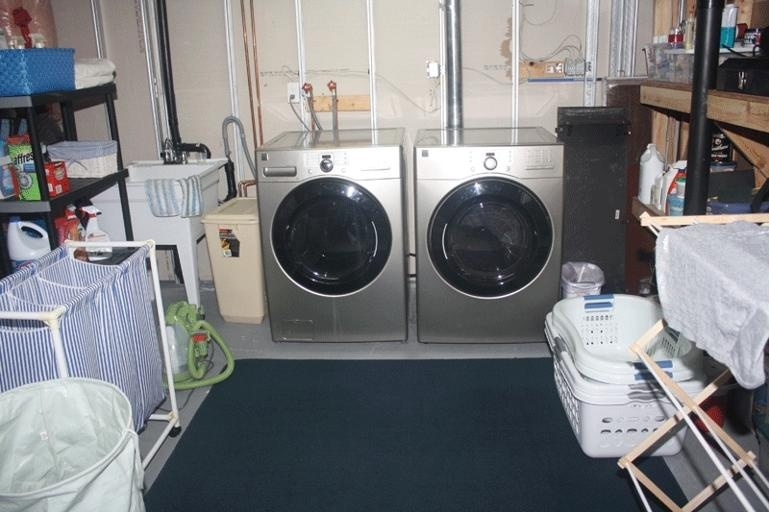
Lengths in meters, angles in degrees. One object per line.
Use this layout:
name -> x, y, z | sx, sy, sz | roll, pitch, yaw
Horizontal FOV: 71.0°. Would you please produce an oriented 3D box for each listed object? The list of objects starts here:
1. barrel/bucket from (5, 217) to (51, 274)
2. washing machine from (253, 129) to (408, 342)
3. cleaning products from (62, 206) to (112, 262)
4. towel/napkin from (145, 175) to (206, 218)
barrel/bucket -> -2.219, -0.086, 3.332 | 0.217, 0.295, 0.221 | -2, 18, 1
washing machine -> -0.297, -0.188, 3.912 | 1.155, 1.694, 1.190 | 0, 14, 2
cleaning products -> -1.786, -0.136, 3.217 | 0.195, 0.333, 0.236 | 1, 27, -22
towel/napkin -> -1.451, -0.402, 3.726 | 0.360, 0.286, 0.080 | -3, 18, 0
